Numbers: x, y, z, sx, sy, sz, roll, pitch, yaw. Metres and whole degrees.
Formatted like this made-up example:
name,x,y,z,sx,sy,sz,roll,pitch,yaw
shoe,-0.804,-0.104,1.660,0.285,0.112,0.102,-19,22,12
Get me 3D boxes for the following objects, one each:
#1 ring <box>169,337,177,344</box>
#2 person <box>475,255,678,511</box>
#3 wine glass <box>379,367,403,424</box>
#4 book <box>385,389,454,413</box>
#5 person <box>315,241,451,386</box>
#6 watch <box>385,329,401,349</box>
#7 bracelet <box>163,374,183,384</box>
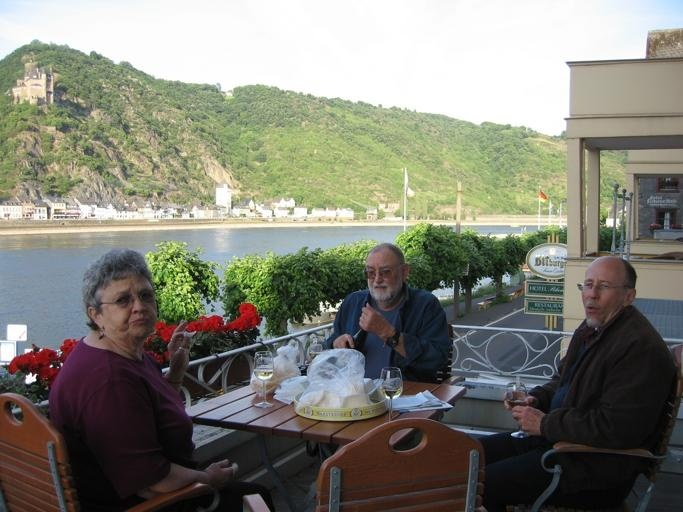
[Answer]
name,x,y,z,sx,sy,sz,roll,pitch,yaw
ring,-0.959,0.479,3.273,0.030,0.039,0.042,2,-10,1
person,1.335,0.695,3.320,1.023,1.341,0.667,-2,2,13
wine glass,0.273,0.735,3.187,0.106,0.279,0.291,-2,2,4
book,0.446,0.841,3.339,0.253,0.046,0.262,-2,5,-4
person,0.327,0.421,4.183,0.906,1.023,0.797,-2,2,11
watch,0.357,0.573,3.989,0.101,0.072,0.119,-21,-4,7
bracelet,-0.955,0.688,3.231,0.109,0.034,0.107,4,0,-13
